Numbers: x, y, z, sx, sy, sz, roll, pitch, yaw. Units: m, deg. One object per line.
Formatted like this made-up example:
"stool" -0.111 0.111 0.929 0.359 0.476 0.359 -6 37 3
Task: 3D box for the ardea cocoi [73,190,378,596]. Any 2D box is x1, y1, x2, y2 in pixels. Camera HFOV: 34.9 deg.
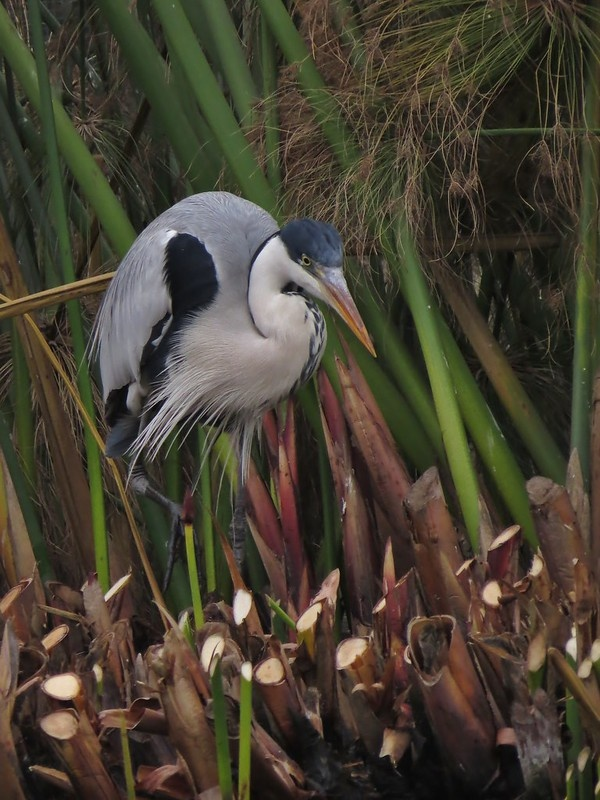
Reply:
"ardea cocoi" -0.145 -0.027 1.702 0.311 0.668 0.640 7 9 -42
